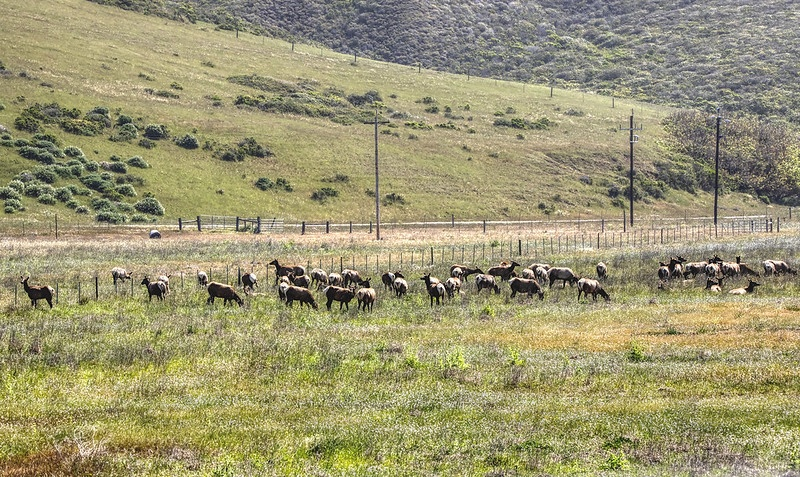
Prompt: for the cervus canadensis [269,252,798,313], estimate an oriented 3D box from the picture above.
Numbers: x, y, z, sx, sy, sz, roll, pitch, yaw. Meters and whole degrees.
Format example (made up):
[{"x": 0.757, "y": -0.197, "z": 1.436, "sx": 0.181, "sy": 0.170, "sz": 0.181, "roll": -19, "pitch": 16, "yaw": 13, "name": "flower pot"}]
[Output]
[{"x": 34.688, "y": 11.581, "z": 403.359, "sx": 82.340, "sy": 14.169, "sz": 22.863, "roll": 1, "pitch": -1, "yaw": -20, "name": "cervus canadensis"}]
